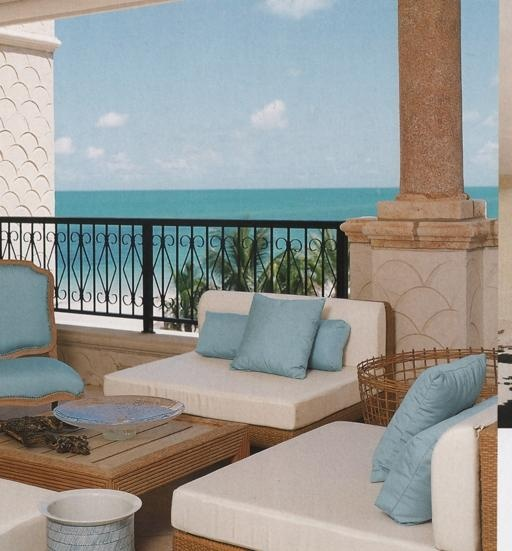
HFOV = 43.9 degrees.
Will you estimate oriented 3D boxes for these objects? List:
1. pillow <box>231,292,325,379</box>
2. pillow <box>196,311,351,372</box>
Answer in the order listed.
[{"bbox_3d":[0.123,0.306,3.191,0.439,0.401,0.129,4,-24,38],"label":"pillow"},{"bbox_3d":[0.151,0.303,3.632,1.142,0.239,0.293,-3,10,34],"label":"pillow"}]
